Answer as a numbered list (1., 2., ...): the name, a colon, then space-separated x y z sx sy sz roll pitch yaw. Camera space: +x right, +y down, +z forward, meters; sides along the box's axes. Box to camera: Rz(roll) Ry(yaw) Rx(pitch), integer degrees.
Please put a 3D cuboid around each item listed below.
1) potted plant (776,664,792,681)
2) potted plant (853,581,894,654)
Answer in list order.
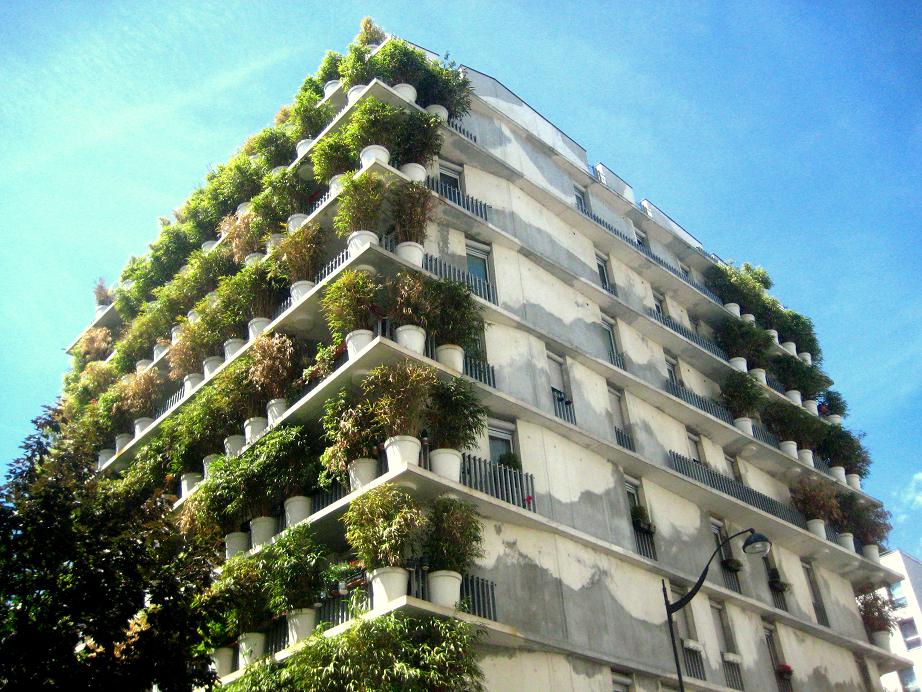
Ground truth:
1. potted plant: 10.155 10.223 29.014 0.467 0.440 0.464 -11 -44 21
2. potted plant: 15.488 10.129 34.443 1.216 2.333 0.585 -7 -44 9
